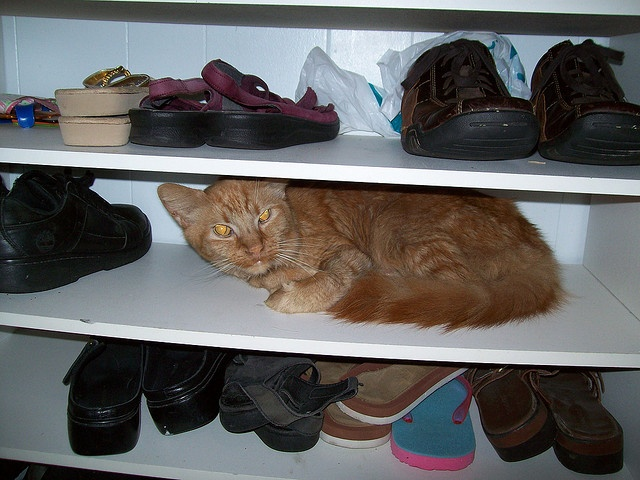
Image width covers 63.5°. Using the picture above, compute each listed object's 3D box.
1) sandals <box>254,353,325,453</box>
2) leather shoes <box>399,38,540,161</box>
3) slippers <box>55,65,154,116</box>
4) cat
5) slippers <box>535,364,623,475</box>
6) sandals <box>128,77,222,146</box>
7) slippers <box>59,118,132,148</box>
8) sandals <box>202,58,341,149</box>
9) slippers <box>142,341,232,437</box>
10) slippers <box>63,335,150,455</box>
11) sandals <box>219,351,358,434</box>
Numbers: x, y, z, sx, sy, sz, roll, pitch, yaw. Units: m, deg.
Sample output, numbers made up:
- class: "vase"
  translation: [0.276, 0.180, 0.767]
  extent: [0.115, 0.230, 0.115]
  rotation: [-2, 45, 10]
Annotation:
- class: "sandals"
  translation: [-0.072, 0.469, 1.471]
  extent: [0.146, 0.106, 0.296]
  rotation: [0, 25, 3]
- class: "leather shoes"
  translation: [0.345, -0.339, 1.241]
  extent: [0.294, 0.270, 0.320]
  rotation: [0, 21, 8]
- class: "slippers"
  translation: [-0.515, -0.387, 1.317]
  extent: [0.163, 0.092, 0.293]
  rotation: [8, 28, 24]
- class: "cat"
  translation: [0.135, 0.035, 1.398]
  extent: [0.807, 0.268, 0.532]
  rotation: [-8, 25, -3]
- class: "slippers"
  translation: [0.742, 0.499, 1.511]
  extent: [0.144, 0.122, 0.339]
  rotation: [-5, 24, 5]
- class: "sandals"
  translation: [-0.348, -0.294, 1.223]
  extent: [0.134, 0.084, 0.231]
  rotation: [6, 35, 6]
- class: "slippers"
  translation: [-0.534, -0.268, 1.256]
  extent: [0.179, 0.065, 0.140]
  rotation: [2, 16, 2]
- class: "sandals"
  translation: [-0.101, -0.371, 1.300]
  extent: [0.204, 0.158, 0.373]
  rotation: [18, 27, 32]
- class: "slippers"
  translation: [-0.390, 0.416, 1.524]
  extent: [0.141, 0.135, 0.338]
  rotation: [-5, 22, -1]
- class: "slippers"
  translation: [-0.618, 0.419, 1.495]
  extent: [0.222, 0.141, 0.422]
  rotation: [5, 19, -17]
- class: "sandals"
  translation: [-0.099, 0.431, 1.439]
  extent: [0.324, 0.107, 0.211]
  rotation: [-1, 41, -2]
